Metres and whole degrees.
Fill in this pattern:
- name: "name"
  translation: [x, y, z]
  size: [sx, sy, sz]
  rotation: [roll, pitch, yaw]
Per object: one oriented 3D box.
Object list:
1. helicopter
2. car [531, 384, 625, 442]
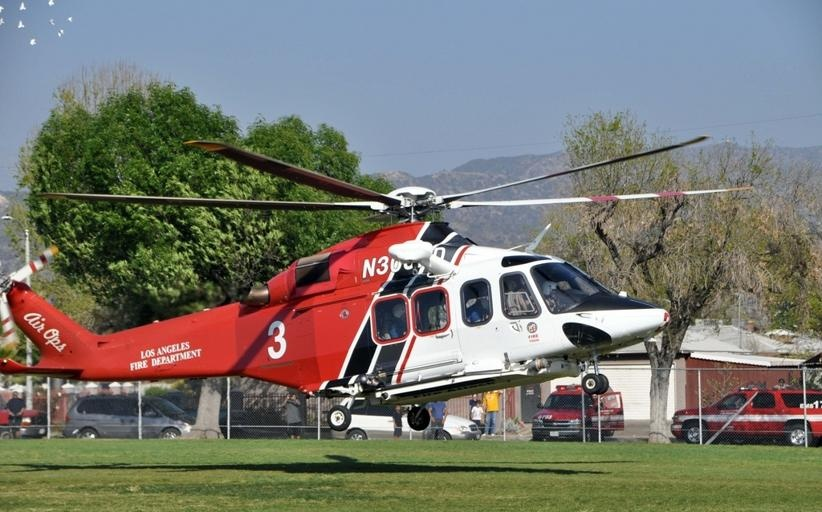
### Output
- name: "helicopter"
  translation: [-2.366, 2.590, 54.616]
  size: [21.859, 6.572, 16.971]
  rotation: [-4, 0, 10]
- name: "car"
  translation: [9.731, 8.943, 72.729]
  size: [4.033, 2.630, 6.495]
  rotation: [-3, -7, 19]
